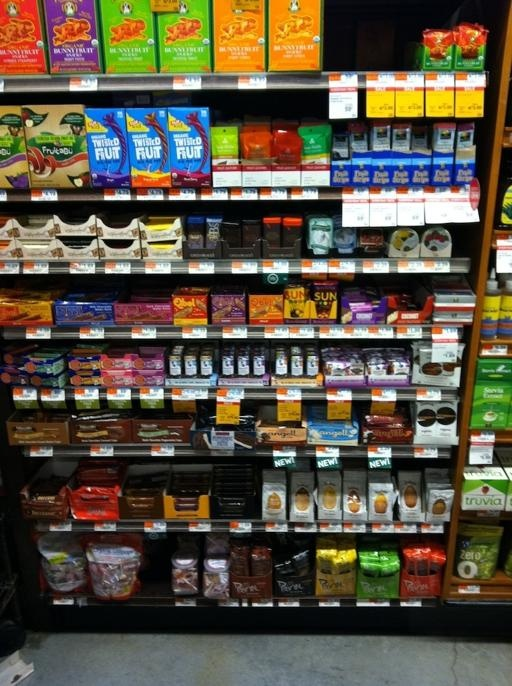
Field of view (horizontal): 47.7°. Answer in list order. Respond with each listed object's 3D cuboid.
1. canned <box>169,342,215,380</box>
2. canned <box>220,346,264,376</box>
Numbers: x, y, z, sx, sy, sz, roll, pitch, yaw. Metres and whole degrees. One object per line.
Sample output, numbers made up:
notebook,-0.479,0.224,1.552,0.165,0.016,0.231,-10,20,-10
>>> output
canned,-0.323,0.096,2.940,0.158,0.095,0.215,0,7,2
canned,-0.058,0.097,2.921,0.145,0.089,0.188,2,11,3
